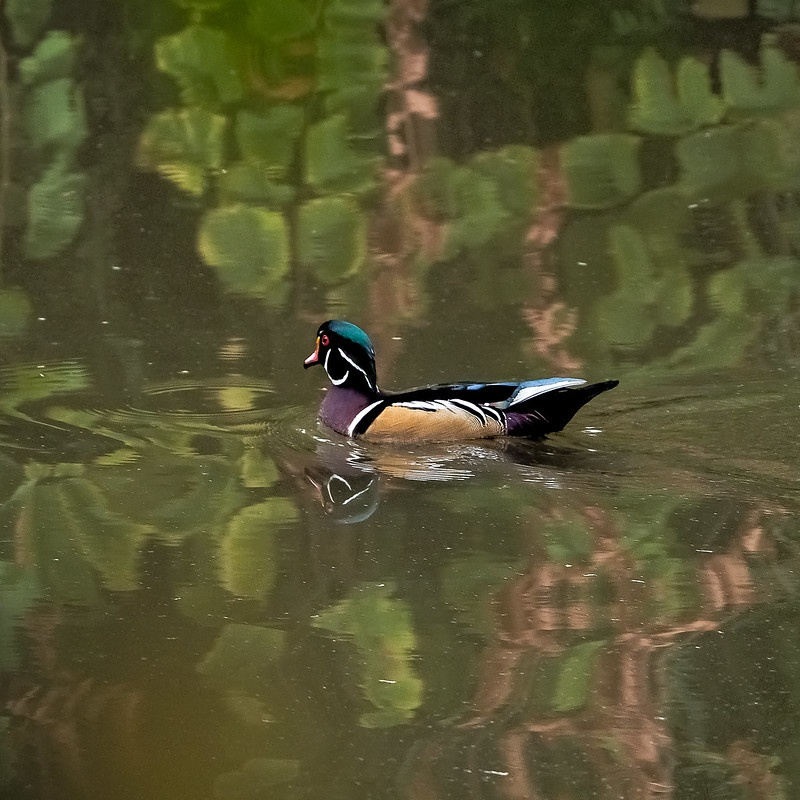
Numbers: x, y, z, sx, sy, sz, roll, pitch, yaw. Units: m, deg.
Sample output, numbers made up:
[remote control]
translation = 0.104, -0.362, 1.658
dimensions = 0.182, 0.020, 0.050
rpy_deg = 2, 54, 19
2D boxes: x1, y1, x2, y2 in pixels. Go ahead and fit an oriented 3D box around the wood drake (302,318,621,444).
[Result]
[wood drake]
translation = 0.346, -0.093, 6.043
dimensions = 1.914, 0.481, 0.623
rpy_deg = -2, 100, 24
